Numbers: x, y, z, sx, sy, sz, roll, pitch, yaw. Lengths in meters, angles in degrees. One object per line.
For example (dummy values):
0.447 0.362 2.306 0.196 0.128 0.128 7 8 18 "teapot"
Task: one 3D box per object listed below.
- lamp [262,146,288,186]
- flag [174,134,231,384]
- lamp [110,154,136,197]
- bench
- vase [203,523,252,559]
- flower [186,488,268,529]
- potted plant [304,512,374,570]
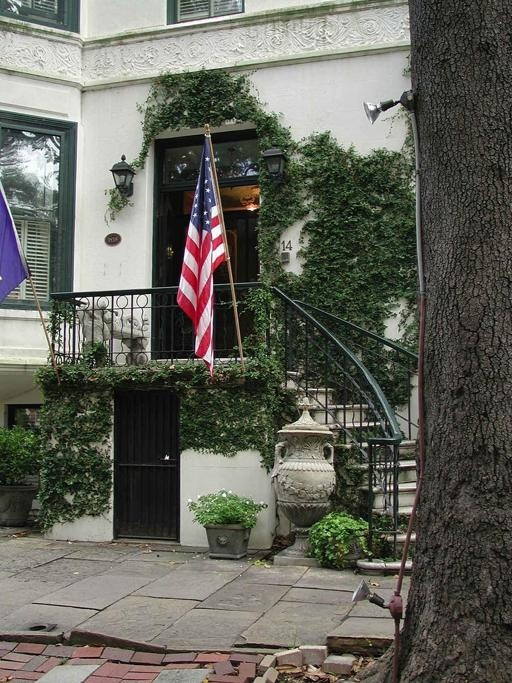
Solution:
0.199 -2.058 11.808 0.286 0.432 0.438 -1 -3 3 "lamp"
-0.461 -0.788 8.996 0.326 2.111 0.421 -2 -4 25 "flag"
-1.627 -2.031 12.334 0.289 0.507 0.361 0 -3 -6 "lamp"
-1.690 -0.090 10.535 0.424 0.526 0.663 3 -11 -10 "bench"
-0.272 1.777 9.020 0.395 0.281 0.312 -3 -16 14 "vase"
-0.273 1.505 9.142 0.464 0.219 0.487 0 -3 2 "flower"
0.706 1.660 8.493 0.439 0.289 0.424 -1 3 27 "potted plant"
